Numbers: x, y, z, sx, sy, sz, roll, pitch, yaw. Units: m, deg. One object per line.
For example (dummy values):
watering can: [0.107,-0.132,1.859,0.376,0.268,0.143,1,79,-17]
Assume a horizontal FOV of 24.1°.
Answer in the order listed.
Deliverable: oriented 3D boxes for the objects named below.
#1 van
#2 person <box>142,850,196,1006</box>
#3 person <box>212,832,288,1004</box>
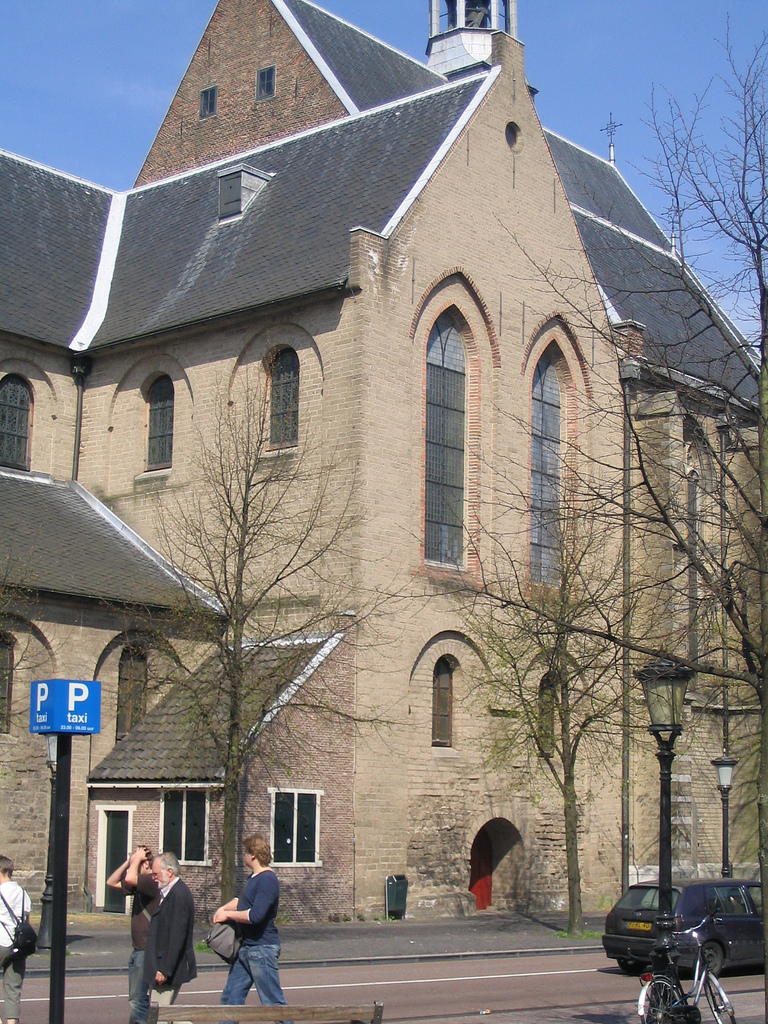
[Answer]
van: [3.960,5.512,24.140,2.956,1.290,1.695,1,-7,-39]
person: [-1.712,3.350,14.357,0.379,1.186,0.626,0,-15,-7]
person: [-1.091,3.280,14.382,0.535,1.317,0.647,0,-14,-6]
